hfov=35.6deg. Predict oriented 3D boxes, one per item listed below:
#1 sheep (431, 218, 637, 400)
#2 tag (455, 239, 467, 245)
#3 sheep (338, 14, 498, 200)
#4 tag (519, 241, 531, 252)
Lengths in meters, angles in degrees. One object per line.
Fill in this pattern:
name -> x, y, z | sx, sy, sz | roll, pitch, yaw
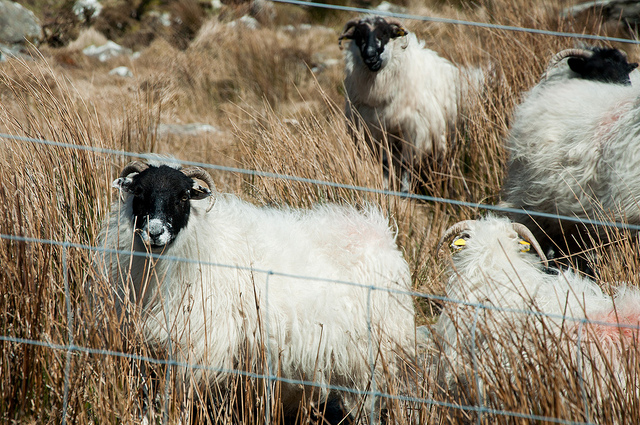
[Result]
sheep -> 1.891, 0.755, 9.024 | 1.916, 1.698, 1.052 | 8, -1, 23
tag -> 1.298, 0.269, 9.271 | 0.100, 0.063, 0.025 | 14, 14, 18
sheep -> 0.940, -1.192, 12.230 | 1.191, 2.139, 2.584 | 3, 2, 24
tag -> 1.879, 0.305, 9.174 | 0.073, 0.065, 0.080 | -2, 4, -1
